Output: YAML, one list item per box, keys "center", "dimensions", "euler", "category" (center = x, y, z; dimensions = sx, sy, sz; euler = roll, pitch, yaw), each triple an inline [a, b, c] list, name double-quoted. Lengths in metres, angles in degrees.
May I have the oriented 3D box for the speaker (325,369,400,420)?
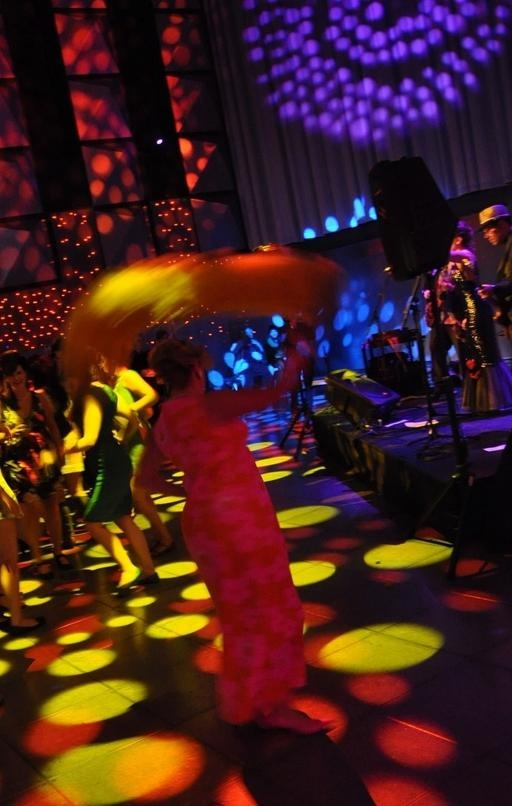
- center: [0.918, -0.031, 5.108]
  dimensions: [0.354, 0.215, 0.621]
  euler: [5, 17, -26]
  category: "speaker"

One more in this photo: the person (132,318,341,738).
- center: [0.012, 0.313, 1.489]
  dimensions: [0.465, 0.982, 0.177]
  euler: [-12, 3, 21]
  category: "person"

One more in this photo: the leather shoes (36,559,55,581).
- center: [-1.267, 1.008, 3.582]
  dimensions: [0.088, 0.096, 0.111]
  euler: [4, 12, 19]
  category: "leather shoes"
